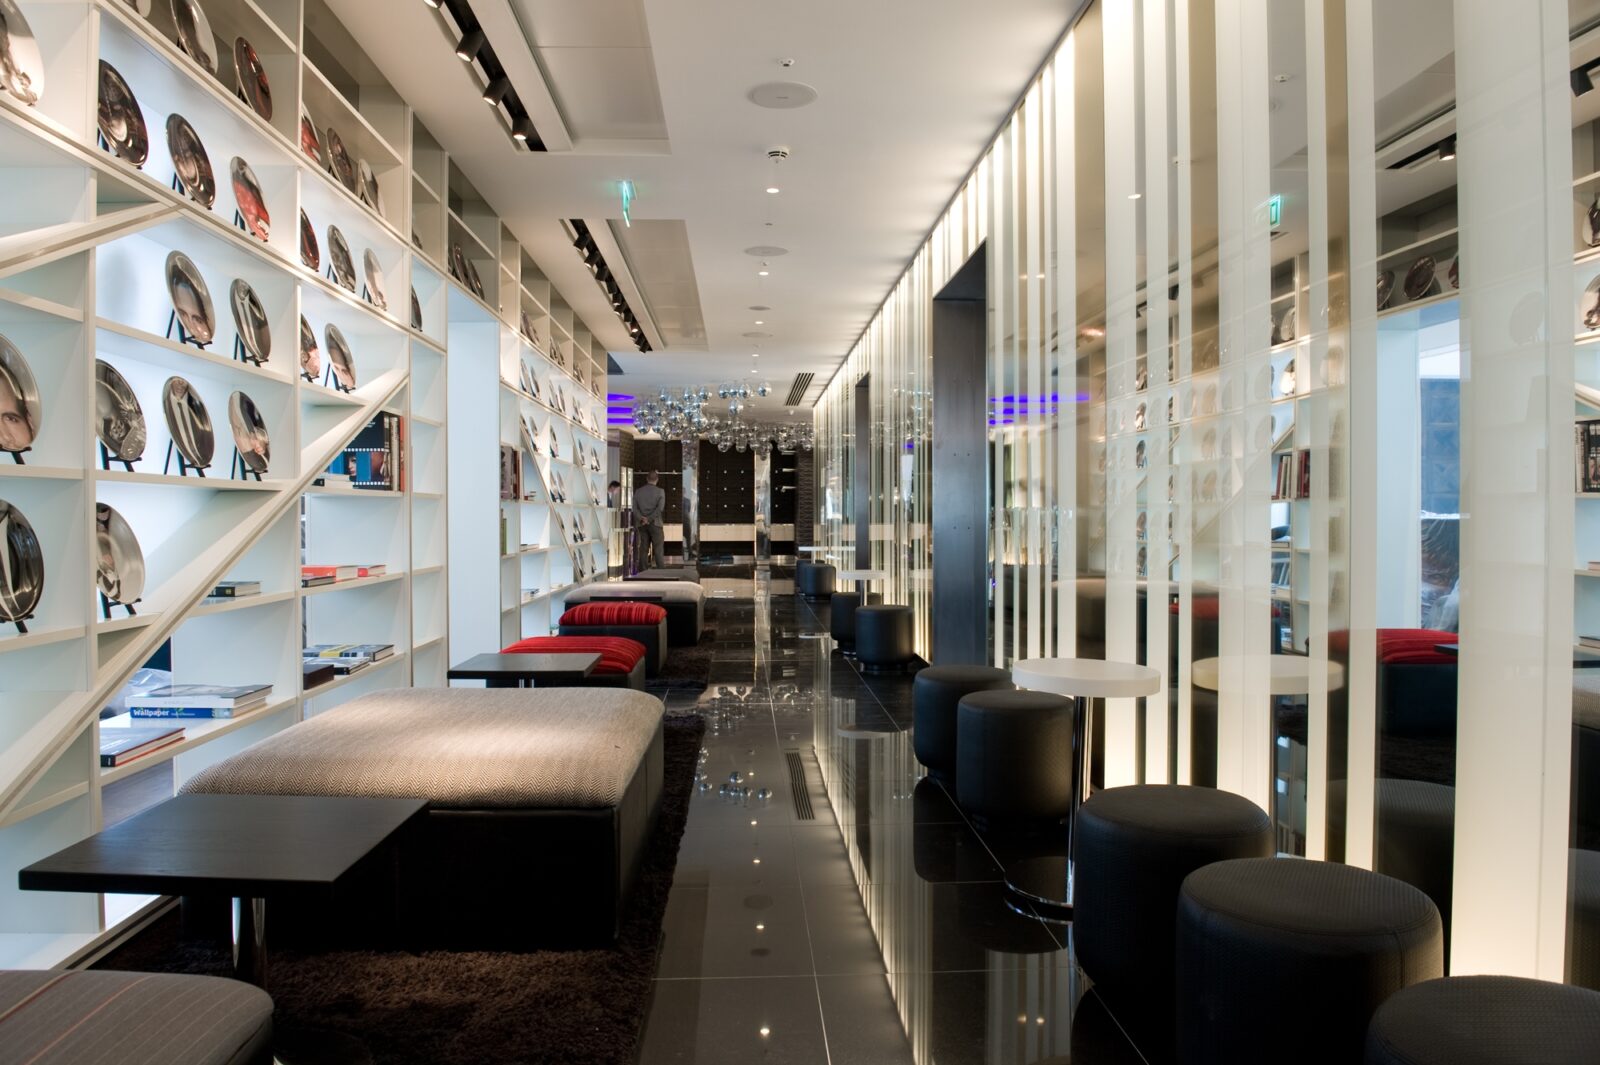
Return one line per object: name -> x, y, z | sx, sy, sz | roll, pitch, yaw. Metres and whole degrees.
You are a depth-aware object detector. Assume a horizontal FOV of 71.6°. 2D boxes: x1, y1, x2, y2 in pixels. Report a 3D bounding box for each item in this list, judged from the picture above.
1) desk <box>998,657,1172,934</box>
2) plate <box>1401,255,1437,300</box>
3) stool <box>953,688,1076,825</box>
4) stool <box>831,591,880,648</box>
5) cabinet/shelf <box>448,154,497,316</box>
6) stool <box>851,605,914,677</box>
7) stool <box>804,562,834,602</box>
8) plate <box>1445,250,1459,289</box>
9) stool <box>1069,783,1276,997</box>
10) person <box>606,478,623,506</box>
desk -> 1.190, 0.983, 4.669 | 0.439, 0.705, 0.457 | 14, -2, 24
plate -> 2.034, -0.832, 3.633 | 0.086, 0.071, 0.114 | -20, -15, 14
stool -> 1.046, 1.078, 5.376 | 0.595, 0.616, 0.605 | -1, 5, -10
stool -> 0.545, 0.846, 11.001 | 0.378, 0.524, 0.534 | 0, -4, 1
cabinet/shelf -> -2.375, -2.186, 8.037 | 0.259, 0.772, 0.829 | -1, 10, 2
stool -> 0.724, 0.873, 9.543 | 0.524, 0.546, 0.524 | -1, 8, -4
stool -> 0.322, 0.715, 16.152 | 0.444, 0.510, 0.450 | 0, -3, 7
plate -> 2.081, -0.830, 3.537 | 0.010, 0.103, 0.041 | -5, 10, -36
stool -> 1.364, 1.145, 3.966 | 0.643, 0.634, 0.655 | 0, 2, 30
person -> -2.891, -0.622, 17.660 | 0.270, 0.346, 0.929 | 0, -5, -6
